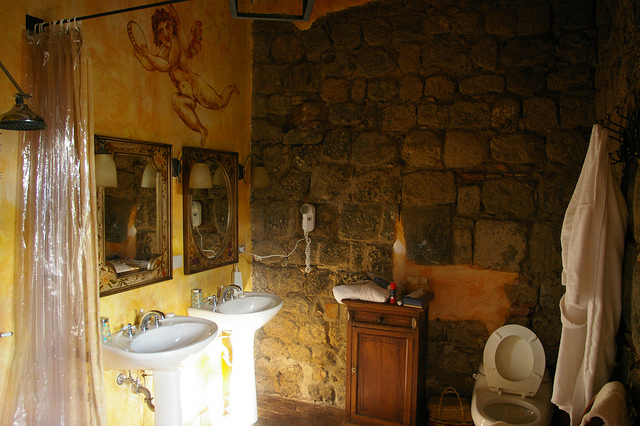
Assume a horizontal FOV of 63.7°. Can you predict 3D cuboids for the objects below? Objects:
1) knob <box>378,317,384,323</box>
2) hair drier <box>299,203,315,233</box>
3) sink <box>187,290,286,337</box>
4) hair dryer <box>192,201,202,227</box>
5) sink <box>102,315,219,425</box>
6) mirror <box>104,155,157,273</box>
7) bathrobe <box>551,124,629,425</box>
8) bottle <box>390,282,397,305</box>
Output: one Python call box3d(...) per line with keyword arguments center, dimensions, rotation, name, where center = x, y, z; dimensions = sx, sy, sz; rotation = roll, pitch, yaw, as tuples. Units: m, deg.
box3d(center=(0.493, 0.879, 4.221), dimensions=(0.033, 0.025, 0.033), rotation=(-2, -5, 27), name="knob")
box3d(center=(-0.123, 0.052, 4.758), dimensions=(0.143, 0.263, 0.102), rotation=(2, -2, 4), name="hair drier")
box3d(center=(-0.680, 0.872, 4.483), dimensions=(0.691, 0.214, 0.749), rotation=(1, 5, 7), name="sink")
box3d(center=(-1.030, 0.012, 4.307), dimensions=(0.013, 0.209, 0.111), rotation=(1, -2, 29), name="hair dryer")
box3d(center=(-1.095, 1.112, 3.822), dimensions=(0.683, 0.922, 0.874), rotation=(1, 3, 19), name="sink")
box3d(center=(-1.386, 0.008, 3.795), dimensions=(0.039, 0.854, 0.447), rotation=(1, -2, 34), name="mirror")
box3d(center=(1.763, 0.415, 3.365), dimensions=(0.426, 1.933, 0.328), rotation=(1, -2, 31), name="bathrobe")
box3d(center=(0.600, 0.668, 4.243), dimensions=(0.047, 0.171, 0.056), rotation=(2, -2, 0), name="bottle")
